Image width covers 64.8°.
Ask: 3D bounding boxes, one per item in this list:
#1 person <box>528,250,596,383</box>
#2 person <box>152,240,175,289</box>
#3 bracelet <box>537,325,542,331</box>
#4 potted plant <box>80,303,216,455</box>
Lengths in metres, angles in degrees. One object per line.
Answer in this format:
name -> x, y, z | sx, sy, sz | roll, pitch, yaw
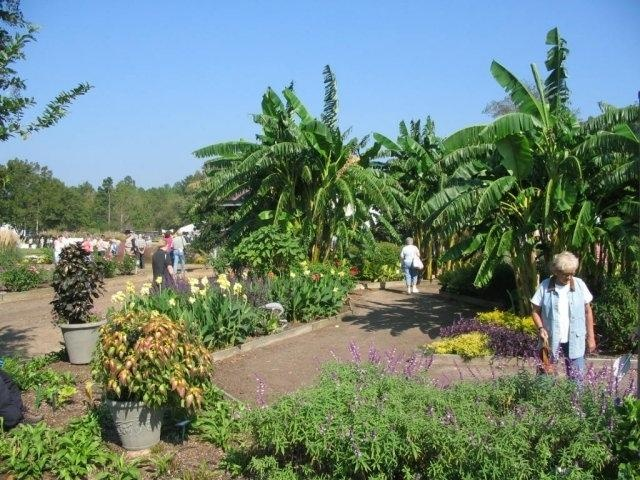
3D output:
person -> 3.109, 0.910, 6.482 | 0.738, 1.464, 1.135 | 3, 11, 28
person -> -3.908, 0.523, 12.507 | 0.497, 1.018, 2.007 | -6, 11, -17
bracelet -> 2.840, 1.144, 6.546 | 0.046, 0.050, 0.049 | -7, 6, -5
potted plant -> -2.182, 1.744, 6.393 | 1.206, 1.508, 1.387 | 15, 0, 28
